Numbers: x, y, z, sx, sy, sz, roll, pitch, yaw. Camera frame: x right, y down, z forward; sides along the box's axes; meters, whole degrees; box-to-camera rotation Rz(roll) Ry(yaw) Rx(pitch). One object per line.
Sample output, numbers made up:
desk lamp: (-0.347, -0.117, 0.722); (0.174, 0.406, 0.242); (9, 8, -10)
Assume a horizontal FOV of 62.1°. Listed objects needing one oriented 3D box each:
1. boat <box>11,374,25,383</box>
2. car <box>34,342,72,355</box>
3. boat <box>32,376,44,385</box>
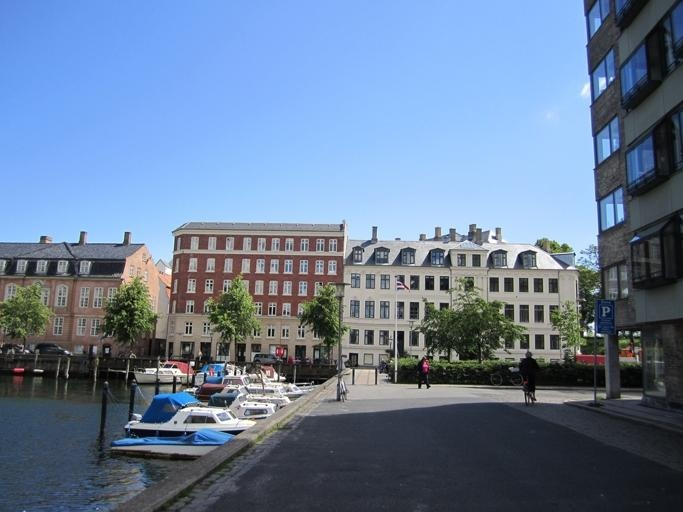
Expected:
boat: (-32.736, 12.339, 57.532); (1.052, 0.140, 10.216); (3, -7, -29)
car: (-33.646, 10.627, 65.882); (2.864, 1.309, 6.576); (4, -8, -36)
boat: (-30.556, 12.404, 57.184); (0.989, 0.138, 8.845); (3, -7, -27)
